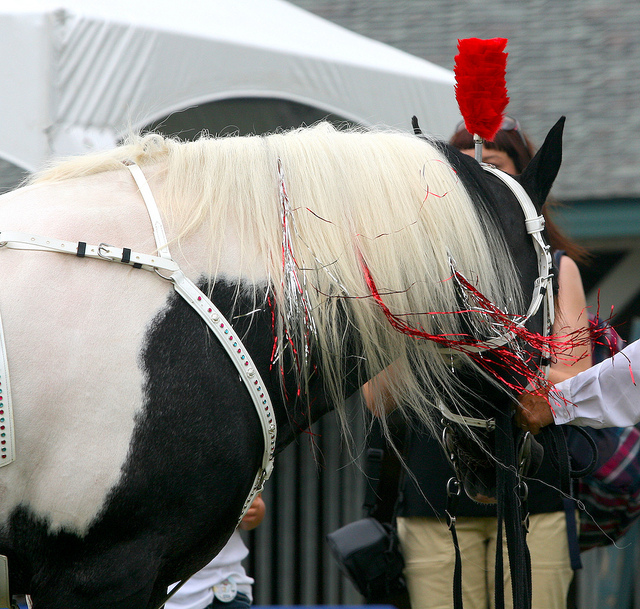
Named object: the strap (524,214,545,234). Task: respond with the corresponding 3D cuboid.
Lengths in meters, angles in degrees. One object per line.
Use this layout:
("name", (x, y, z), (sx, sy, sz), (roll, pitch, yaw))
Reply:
("strap", (0.412, -0.151, 3.119), (0.032, 0.021, 0.034), (-10, 2, 9))

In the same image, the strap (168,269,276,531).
("strap", (-0.160, 0.172, 2.945), (0.152, 0.481, 0.066), (-9, 8, -27))

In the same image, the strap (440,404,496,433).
("strap", (0.284, 0.229, 3.112), (0.074, 0.023, 0.064), (12, -7, 4))

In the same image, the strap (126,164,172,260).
("strap", (-0.297, -0.166, 2.936), (0.044, 0.220, 0.033), (-18, -10, -23))

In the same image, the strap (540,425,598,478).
("strap", (0.504, 0.279, 3.232), (0.103, 0.117, 0.022), (-15, 28, 48))
